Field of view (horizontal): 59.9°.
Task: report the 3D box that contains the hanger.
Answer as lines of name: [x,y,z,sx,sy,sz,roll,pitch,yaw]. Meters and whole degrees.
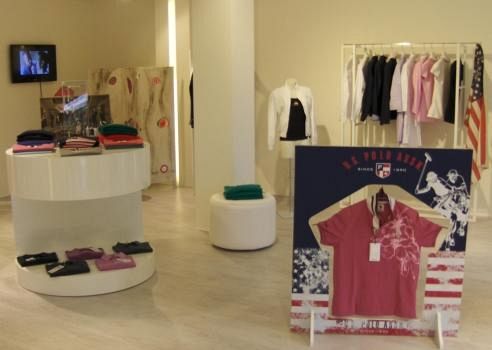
hanger: [2.290,-1.711,5.896,1.151,0.277,0.527,4,13,23]

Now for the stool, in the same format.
stool: [-0.019,0.487,5.019,0.639,0.456,0.647,-2,11,-7]

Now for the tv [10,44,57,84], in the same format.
tv: [-3.486,-1.823,6.975,0.072,0.537,0.697,15,18,37]

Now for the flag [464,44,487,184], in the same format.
flag: [3.026,-0.789,5.634,0.299,1.811,0.416,8,15,35]

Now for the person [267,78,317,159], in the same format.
person: [0.631,-0.780,5.938,0.648,1.070,0.275,0,12,7]
